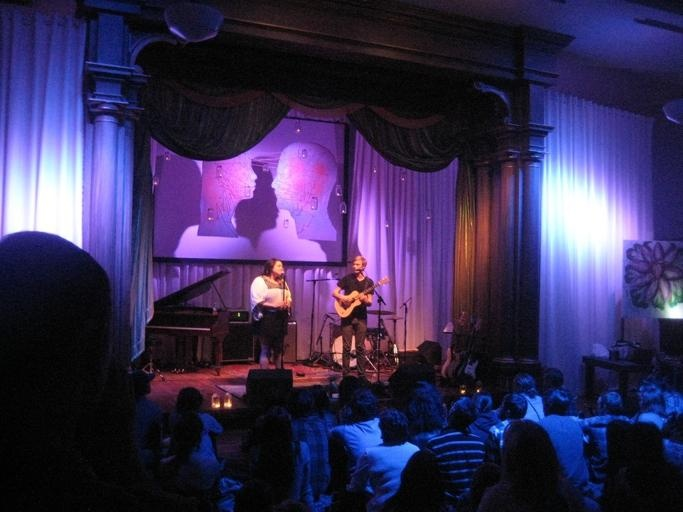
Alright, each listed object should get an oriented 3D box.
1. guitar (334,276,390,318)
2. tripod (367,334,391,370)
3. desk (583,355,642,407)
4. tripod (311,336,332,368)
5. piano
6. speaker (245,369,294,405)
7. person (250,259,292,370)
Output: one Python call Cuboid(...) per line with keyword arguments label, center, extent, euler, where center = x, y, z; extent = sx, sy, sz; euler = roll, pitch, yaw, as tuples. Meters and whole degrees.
Cuboid(label="guitar", center=(0.257, 0.600, 8.685), extent=(0.860, 0.381, 0.127), euler=(-37, -24, 16))
Cuboid(label="tripod", center=(0.553, 1.426, 9.818), extent=(0.365, 0.460, 0.367), euler=(4, -1, 5))
Cuboid(label="desk", center=(3.286, 1.475, 7.891), extent=(0.567, 0.442, 0.578), euler=(3, -6, -20))
Cuboid(label="tripod", center=(-0.298, 1.481, 10.190), extent=(0.386, 0.543, 0.395), euler=(8, -12, -24))
Cuboid(label="piano", center=(-2.080, 0.881, 8.889), extent=(1.083, 1.368, 1.326), euler=(-1, -5, 7))
Cuboid(label="speaker", center=(-0.760, 1.339, 6.924), extent=(0.496, 0.357, 0.373), euler=(1, -25, -3))
Cuboid(label="person", center=(-0.863, 0.682, 7.877), extent=(0.454, 1.299, 0.411), euler=(3, -3, -7))
